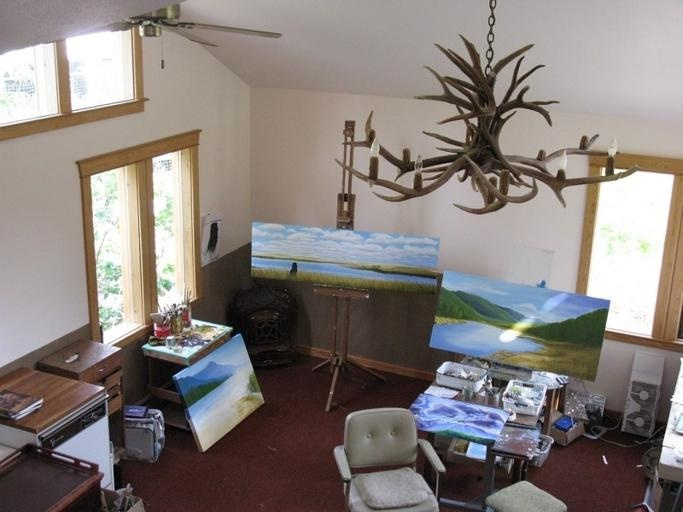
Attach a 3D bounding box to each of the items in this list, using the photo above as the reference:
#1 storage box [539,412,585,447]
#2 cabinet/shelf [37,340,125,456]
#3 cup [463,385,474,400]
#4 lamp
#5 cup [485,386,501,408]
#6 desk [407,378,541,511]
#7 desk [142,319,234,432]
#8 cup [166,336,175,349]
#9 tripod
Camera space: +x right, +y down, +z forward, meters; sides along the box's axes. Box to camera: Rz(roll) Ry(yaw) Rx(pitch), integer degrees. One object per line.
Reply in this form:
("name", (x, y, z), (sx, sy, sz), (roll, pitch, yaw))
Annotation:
("storage box", (2.526, 1.944, 5.791), (0.288, 0.337, 0.630), (13, 16, 42))
("cabinet/shelf", (-2.451, 1.420, 4.926), (0.456, 1.126, 0.605), (7, 13, 23))
("cup", (1.257, 1.371, 5.112), (0.123, 0.121, 0.082), (-11, 17, -36))
("lamp", (1.524, -1.482, 4.920), (1.804, 1.838, 1.836), (0, 13, -2))
("cup", (1.522, 1.431, 5.119), (0.162, 0.161, 0.259), (-2, -16, 9))
("desk", (1.240, 2.017, 5.114), (1.470, 1.125, 0.853), (13, 39, 20))
("desk", (-1.815, 1.347, 5.916), (0.739, 1.038, 0.827), (9, 14, 28))
("cup", (-1.856, 0.951, 5.597), (0.093, 0.111, 0.120), (2, 11, -3))
("tripod", (0.132, 1.319, 6.768), (0.836, 1.105, 0.791), (14, 32, 22))
